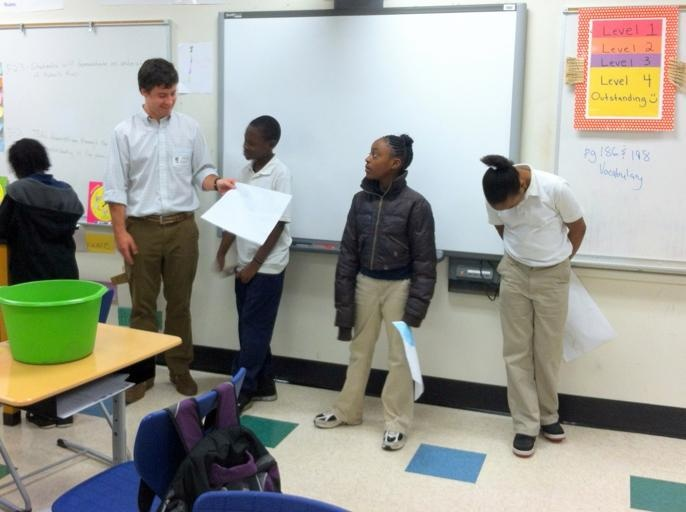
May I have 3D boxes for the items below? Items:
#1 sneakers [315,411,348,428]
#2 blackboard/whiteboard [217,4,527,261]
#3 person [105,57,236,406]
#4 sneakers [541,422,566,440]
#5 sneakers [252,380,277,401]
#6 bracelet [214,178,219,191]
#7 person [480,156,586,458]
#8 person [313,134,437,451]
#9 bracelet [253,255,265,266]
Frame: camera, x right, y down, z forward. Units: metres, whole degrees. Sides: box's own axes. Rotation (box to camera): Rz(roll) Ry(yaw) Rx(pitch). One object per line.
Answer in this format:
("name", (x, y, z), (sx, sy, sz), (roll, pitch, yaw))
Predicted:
("sneakers", (-0.073, 1.001, 3.279), (0.154, 0.067, 0.094), (9, 2, -13))
("blackboard/whiteboard", (0.246, -0.775, 3.277), (1.504, 1.210, 0.061), (2, 4, 17))
("person", (-1.199, -0.160, 3.569), (0.766, 2.224, 0.676), (2, 30, -14))
("sneakers", (1.246, 1.034, 3.166), (0.072, 0.072, 0.163), (-1, 1, -17))
("sneakers", (-0.498, 0.896, 3.561), (0.204, 0.160, 0.079), (3, 4, -4))
("bracelet", (-0.775, -0.441, 3.255), (0.027, 0.074, 0.198), (-2, 14, -13))
("person", (1.035, 0.273, 2.999), (0.527, 1.648, 0.395), (7, 14, 26))
("person", (0.205, 0.182, 3.136), (0.659, 1.745, 0.531), (5, 14, 18))
("bracelet", (-0.523, 0.023, 3.310), (0.050, 0.043, 0.071), (3, 8, -3))
